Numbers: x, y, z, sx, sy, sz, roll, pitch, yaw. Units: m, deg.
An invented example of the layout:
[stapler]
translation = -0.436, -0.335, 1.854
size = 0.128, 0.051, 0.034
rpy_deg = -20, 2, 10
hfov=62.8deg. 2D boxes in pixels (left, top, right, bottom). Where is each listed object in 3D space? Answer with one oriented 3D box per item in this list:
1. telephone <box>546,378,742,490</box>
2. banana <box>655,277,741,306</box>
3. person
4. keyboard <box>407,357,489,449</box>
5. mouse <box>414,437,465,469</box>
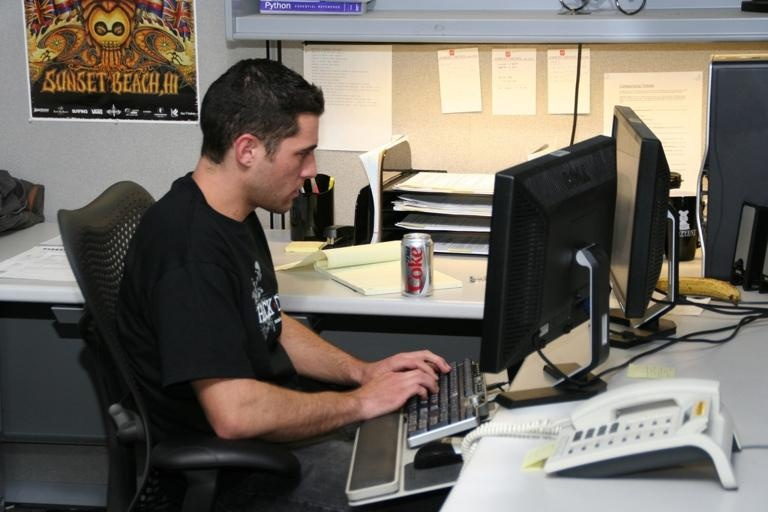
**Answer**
[telephone]
translation = 0.479, 0.329, 1.203
size = 0.283, 0.118, 0.214
rpy_deg = -4, 14, 18
[banana]
translation = 0.921, 0.104, 1.861
size = 0.300, 0.087, 0.062
rpy_deg = -1, -23, 16
[person]
translation = -0.148, -0.131, 2.235
size = 1.159, 1.585, 0.892
rpy_deg = -2, 12, -9
[keyboard]
translation = 0.160, 0.358, 1.558
size = 0.193, 0.068, 0.327
rpy_deg = -13, 9, 5
[mouse]
translation = 0.123, 0.428, 1.379
size = 0.104, 0.024, 0.054
rpy_deg = -5, 37, 3
